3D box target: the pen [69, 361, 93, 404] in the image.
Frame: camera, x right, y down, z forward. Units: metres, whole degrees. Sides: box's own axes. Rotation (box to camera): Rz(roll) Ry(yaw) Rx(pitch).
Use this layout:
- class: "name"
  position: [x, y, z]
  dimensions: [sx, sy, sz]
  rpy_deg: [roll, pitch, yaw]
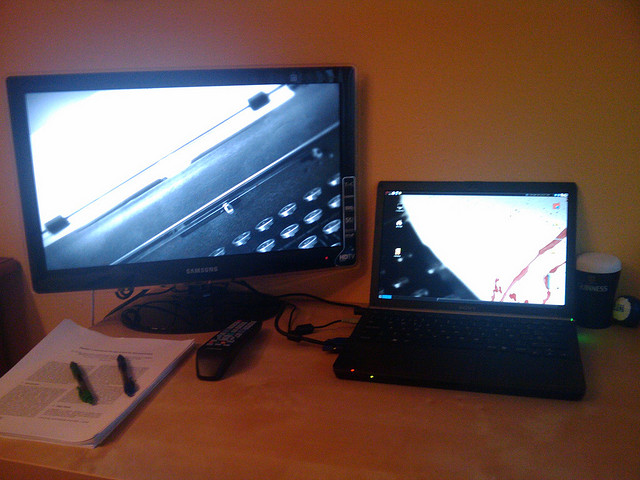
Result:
- class: "pen"
  position: [-0.485, 0.269, 1.101]
  dimensions: [0.029, 0.017, 0.158]
  rpy_deg: [-19, 31, -23]

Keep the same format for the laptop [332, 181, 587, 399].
- class: "laptop"
  position: [0.333, 0.089, 1.233]
  dimensions: [0.525, 0.347, 0.467]
  rpy_deg: [2, 23, 15]

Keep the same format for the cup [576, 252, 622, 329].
- class: "cup"
  position: [0.635, 0.118, 1.258]
  dimensions: [0.088, 0.162, 0.066]
  rpy_deg: [-7, 16, -18]

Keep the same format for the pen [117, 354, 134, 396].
- class: "pen"
  position: [-0.392, 0.268, 1.091]
  dimensions: [0.026, 0.013, 0.097]
  rpy_deg: [-38, 39, 0]

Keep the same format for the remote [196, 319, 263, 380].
- class: "remote"
  position: [-0.204, 0.229, 1.167]
  dimensions: [0.053, 0.027, 0.163]
  rpy_deg: [5, 19, 11]

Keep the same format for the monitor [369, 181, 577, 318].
- class: "monitor"
  position: [0.376, 0.029, 1.269]
  dimensions: [0.319, 0.212, 0.015]
  rpy_deg: [3, -1, 11]

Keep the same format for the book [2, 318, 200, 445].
- class: "book"
  position: [-0.486, 0.280, 1.118]
  dimensions: [0.332, 0.092, 0.332]
  rpy_deg: [4, 16, 17]
